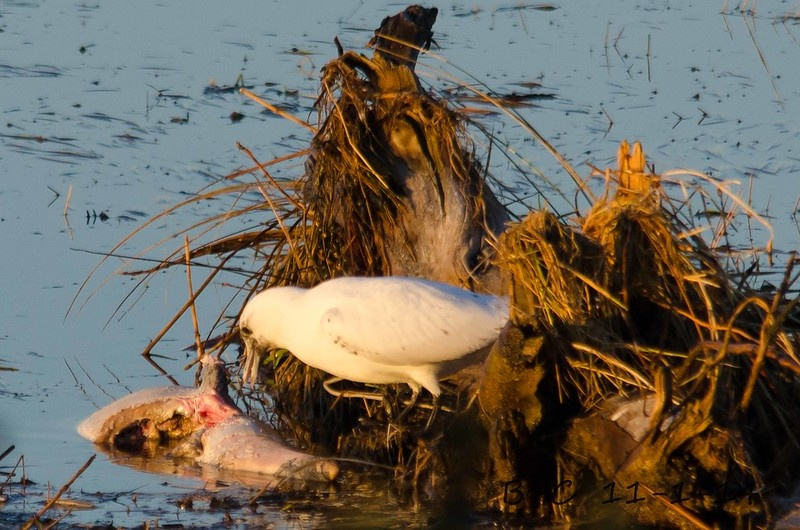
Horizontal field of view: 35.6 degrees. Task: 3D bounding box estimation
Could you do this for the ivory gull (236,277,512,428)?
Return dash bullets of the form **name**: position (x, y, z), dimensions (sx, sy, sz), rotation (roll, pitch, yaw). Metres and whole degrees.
- **ivory gull**: position (-0.144, 0.453, 6.850), dimensions (1.635, 0.710, 0.606), rotation (-7, 49, 19)
